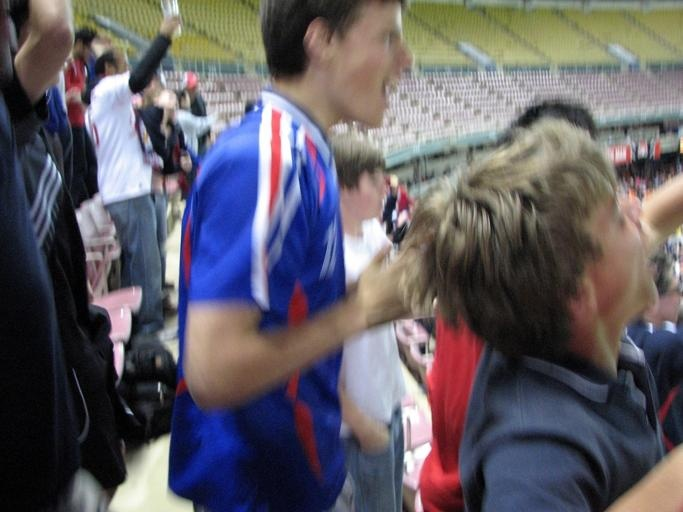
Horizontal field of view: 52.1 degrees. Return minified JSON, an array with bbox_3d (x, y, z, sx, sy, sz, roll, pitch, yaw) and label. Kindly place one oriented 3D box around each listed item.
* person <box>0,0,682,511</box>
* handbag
[{"bbox_3d":[-0.251,-0.047,1.420,0.784,1.003,0.458,2,11,-1],"label":"person"},{"bbox_3d":[-0.787,0.559,2.853,0.247,0.133,0.374,2,51,-9],"label":"handbag"}]
